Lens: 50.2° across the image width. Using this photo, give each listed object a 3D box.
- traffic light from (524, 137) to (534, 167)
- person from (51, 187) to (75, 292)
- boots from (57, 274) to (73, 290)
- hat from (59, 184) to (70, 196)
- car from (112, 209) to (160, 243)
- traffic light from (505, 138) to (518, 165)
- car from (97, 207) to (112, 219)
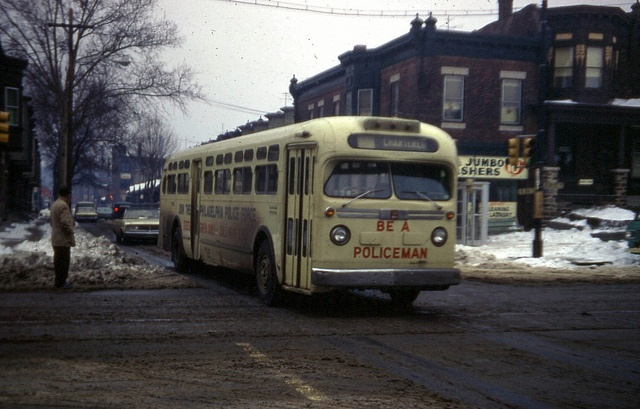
[{"bbox_3d":[7.741,-1.930,25.253,0.349,1.060,0.447,4,7,20],"label":"traffic light"},{"bbox_3d":[-7.110,0.866,18.683,0.588,2.730,1.138,-1,8,-21],"label":"person"},{"bbox_3d":[-6.940,2.155,18.574,0.297,0.442,0.416,3,-10,-40],"label":"boots"},{"bbox_3d":[-7.003,-0.359,18.620,0.251,0.328,0.317,1,-1,-29],"label":"hat"},{"bbox_3d":[-9.023,1.049,33.067,1.757,1.303,3.453,0,-1,-27],"label":"car"},{"bbox_3d":[7.343,-1.987,25.997,0.407,1.035,0.587,3,7,12],"label":"traffic light"},{"bbox_3d":[-25.851,1.019,81.058,1.646,1.170,2.865,0,7,-20],"label":"car"}]
